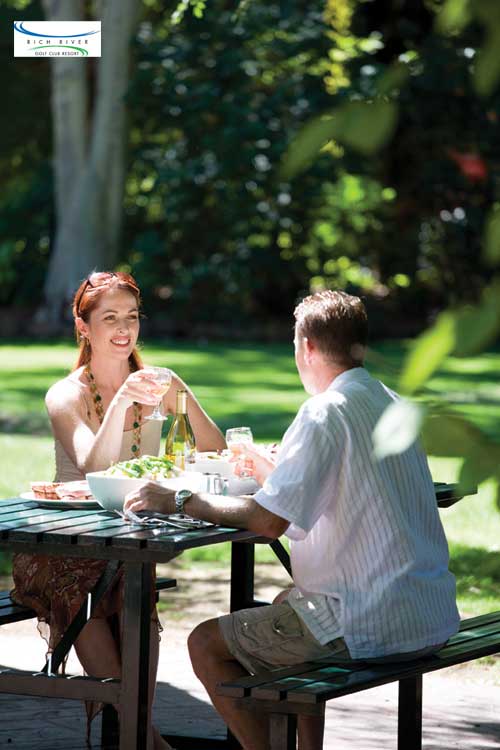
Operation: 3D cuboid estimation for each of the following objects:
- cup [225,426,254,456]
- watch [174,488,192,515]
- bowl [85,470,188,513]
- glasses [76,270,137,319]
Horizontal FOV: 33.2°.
[{"bbox_3d":[-0.055,0.250,3.151,0.115,0.108,0.114,-5,2,0],"label":"cup"},{"bbox_3d":[-0.217,0.404,2.701,0.057,0.075,0.080,2,-32,-1],"label":"watch"},{"bbox_3d":[-0.403,0.377,2.793,0.228,0.084,0.168,0,-5,13],"label":"bowl"},{"bbox_3d":[-0.630,-0.347,3.587,0.242,0.217,0.069,-4,30,-41],"label":"glasses"}]
